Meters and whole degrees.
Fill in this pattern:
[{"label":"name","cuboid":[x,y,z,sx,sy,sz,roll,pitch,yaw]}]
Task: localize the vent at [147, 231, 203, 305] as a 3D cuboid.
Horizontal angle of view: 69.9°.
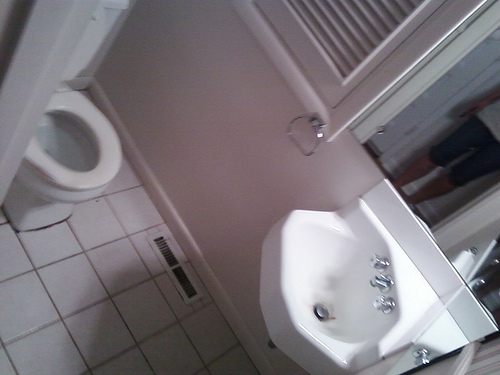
[{"label":"vent","cuboid":[-0.397,0.414,1.845,0.399,0.056,0.126,57,31,6]}]
